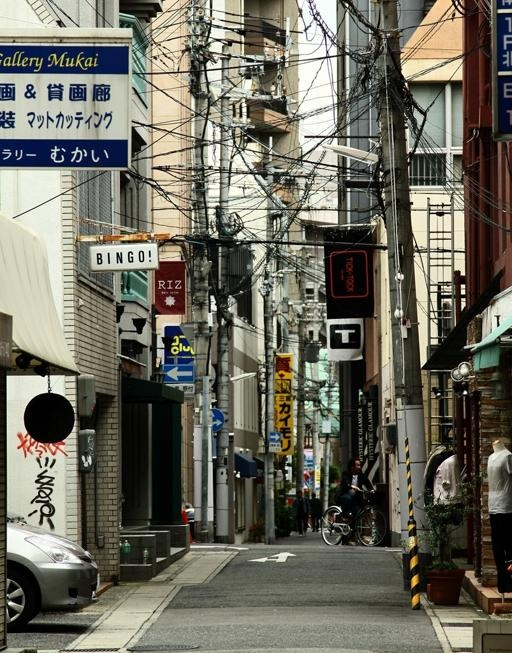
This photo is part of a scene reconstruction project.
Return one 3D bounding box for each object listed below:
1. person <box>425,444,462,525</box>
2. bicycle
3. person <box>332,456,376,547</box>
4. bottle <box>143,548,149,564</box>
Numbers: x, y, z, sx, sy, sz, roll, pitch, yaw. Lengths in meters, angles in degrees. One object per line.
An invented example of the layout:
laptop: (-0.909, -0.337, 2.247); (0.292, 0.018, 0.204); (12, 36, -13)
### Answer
person: (2.820, 2.335, 20.790); (0.337, 0.880, 1.055); (-1, 22, 6)
bicycle: (2.182, 4.468, 31.974); (0.796, 1.147, 1.607); (7, -13, -41)
person: (2.276, 3.973, 31.876); (0.849, 1.921, 1.313); (-2, -9, 4)
bottle: (-1.677, 3.440, 21.051); (0.097, 0.217, 0.071); (-2, -8, 8)
